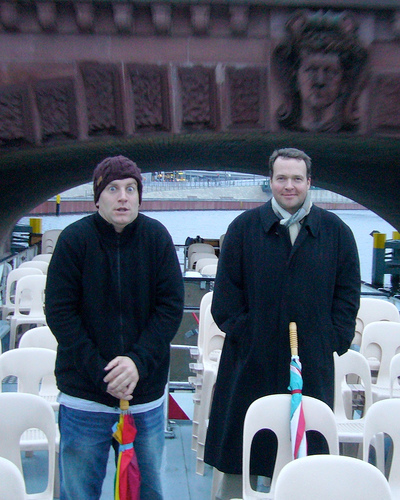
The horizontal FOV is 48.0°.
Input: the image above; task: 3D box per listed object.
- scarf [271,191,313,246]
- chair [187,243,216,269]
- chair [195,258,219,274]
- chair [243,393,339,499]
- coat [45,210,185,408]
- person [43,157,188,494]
[{"bbox_3d":[0.351,-0.113,1.704,0.140,0.196,0.068,0,1,13],"label":"scarf"},{"bbox_3d":[0.020,0.110,7.927,0.440,0.627,0.456,1,-5,-3],"label":"chair"},{"bbox_3d":[0.092,0.219,6.128,0.245,0.320,0.273,1,-6,-4],"label":"chair"},{"bbox_3d":[0.248,0.710,1.734,0.351,0.547,0.401,1,-5,-4],"label":"chair"},{"bbox_3d":[-0.284,0.188,1.465,0.451,0.576,0.348,2,1,-29],"label":"coat"},{"bbox_3d":[-0.305,0.288,1.653,0.484,0.846,0.770,-1,1,-16],"label":"person"}]
